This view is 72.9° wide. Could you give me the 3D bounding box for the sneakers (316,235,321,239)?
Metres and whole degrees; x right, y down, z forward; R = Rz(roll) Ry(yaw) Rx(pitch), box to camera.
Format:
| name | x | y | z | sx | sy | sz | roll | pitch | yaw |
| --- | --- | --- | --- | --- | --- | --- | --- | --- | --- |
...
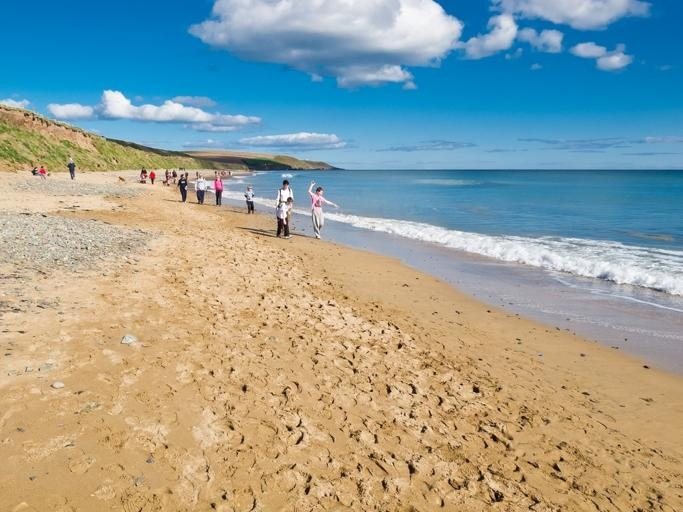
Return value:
| name | x | y | z | sx | sy | sz | roll | pitch | yaw |
| --- | --- | --- | --- | --- | --- | --- | --- | --- | --- |
| sneakers | -1.050 | -0.864 | 21.205 | 0.309 | 0.180 | 0.174 | 0 | 4 | -32 |
